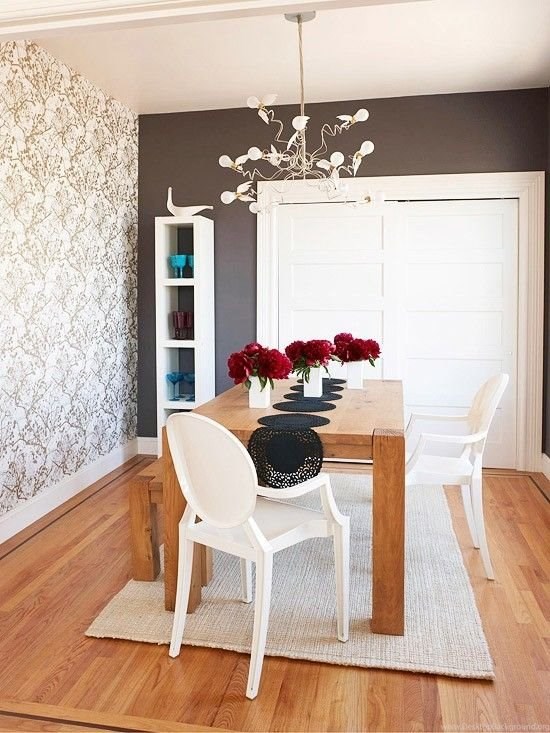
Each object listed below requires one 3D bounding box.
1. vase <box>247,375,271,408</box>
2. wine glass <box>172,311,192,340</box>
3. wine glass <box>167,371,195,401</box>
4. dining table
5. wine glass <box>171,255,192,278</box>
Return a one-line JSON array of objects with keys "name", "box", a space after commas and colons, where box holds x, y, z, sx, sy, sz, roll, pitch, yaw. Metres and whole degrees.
[{"name": "vase", "box": [-0.066, 0.098, 2.362, 0.110, 0.171, 0.116, 1, 7, 6]}, {"name": "wine glass", "box": [-0.646, -0.282, 3.921, 0.146, 0.192, 0.277, -1, 4, -11]}, {"name": "wine glass", "box": [-0.675, 0.138, 4.062, 0.205, 0.174, 0.203, 0, 5, 0]}, {"name": "dining table", "box": [0.012, 0.563, 2.039, 0.480, 0.434, 0.854, -2, -14, -28]}, {"name": "wine glass", "box": [-0.652, -0.703, 3.928, 0.146, 0.173, 0.297, -1, 4, -10]}]
